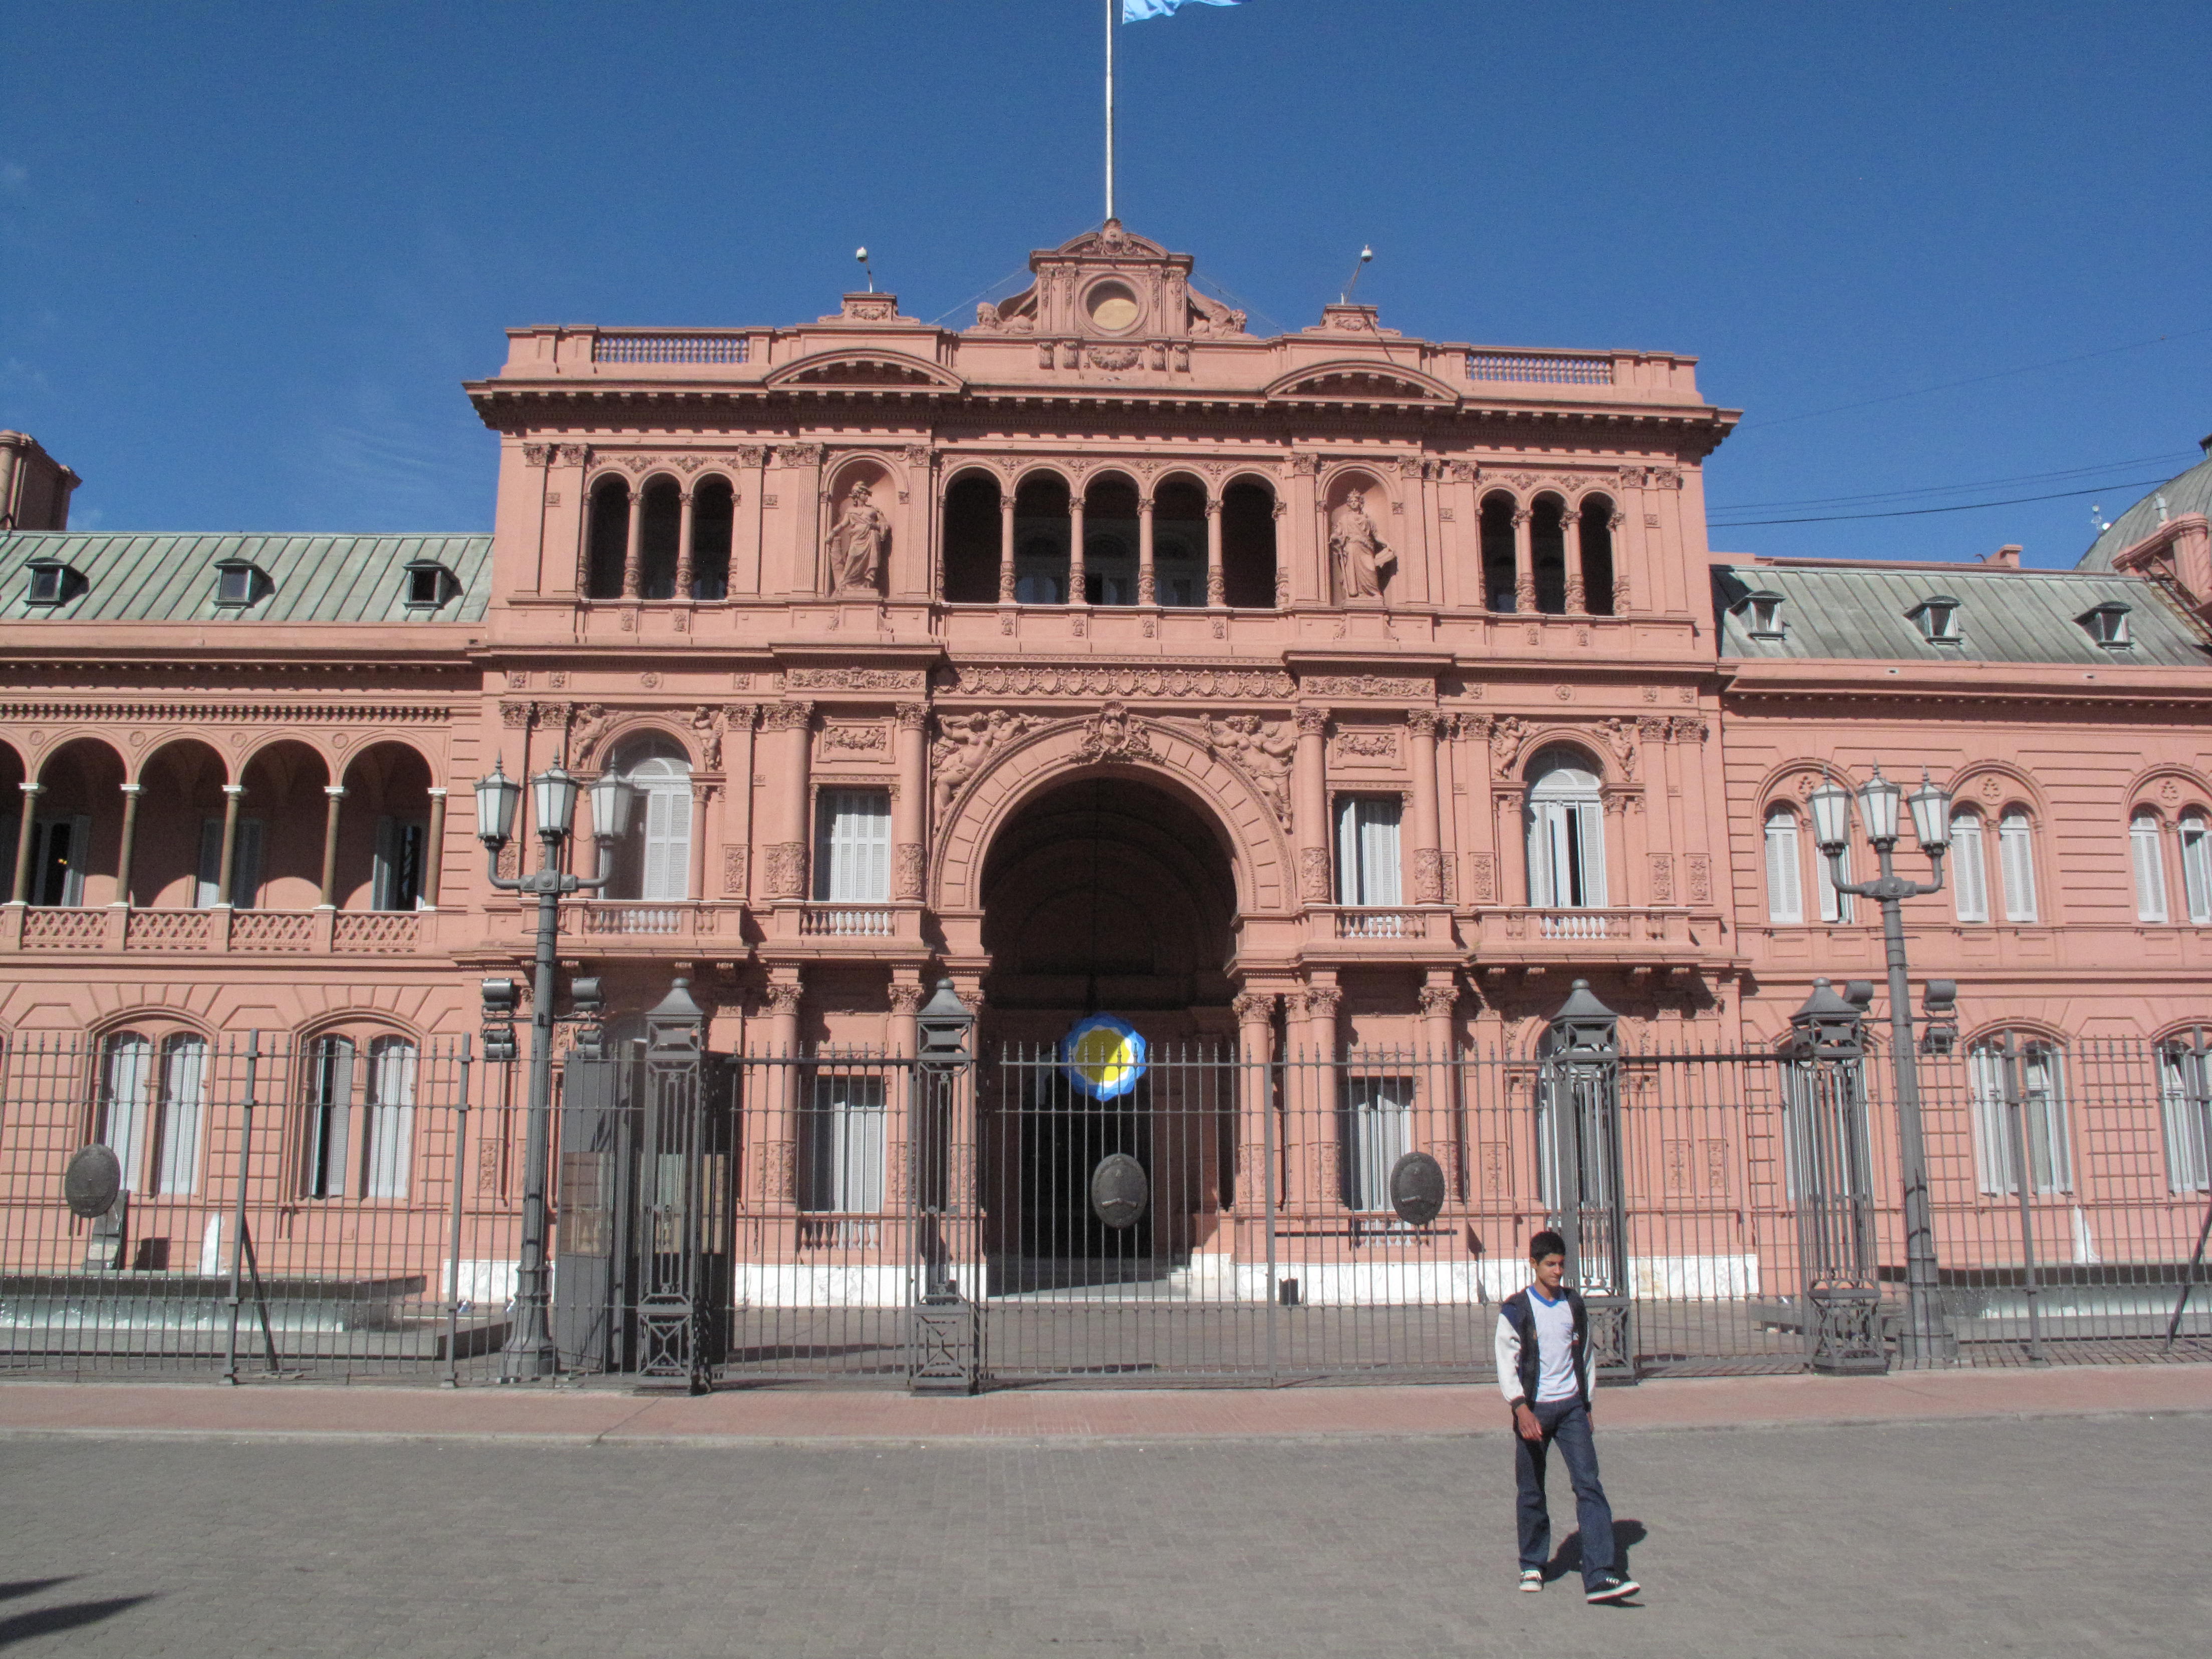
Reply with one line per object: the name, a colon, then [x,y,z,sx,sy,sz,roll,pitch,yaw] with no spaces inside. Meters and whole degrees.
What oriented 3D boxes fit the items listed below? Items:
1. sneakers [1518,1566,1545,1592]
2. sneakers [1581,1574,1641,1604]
sneakers: [3.409,5.974,14.370,0.193,0.164,0.294,-5,-13,11]
sneakers: [3.964,5.941,14.084,0.408,0.182,0.166,-7,-20,11]
